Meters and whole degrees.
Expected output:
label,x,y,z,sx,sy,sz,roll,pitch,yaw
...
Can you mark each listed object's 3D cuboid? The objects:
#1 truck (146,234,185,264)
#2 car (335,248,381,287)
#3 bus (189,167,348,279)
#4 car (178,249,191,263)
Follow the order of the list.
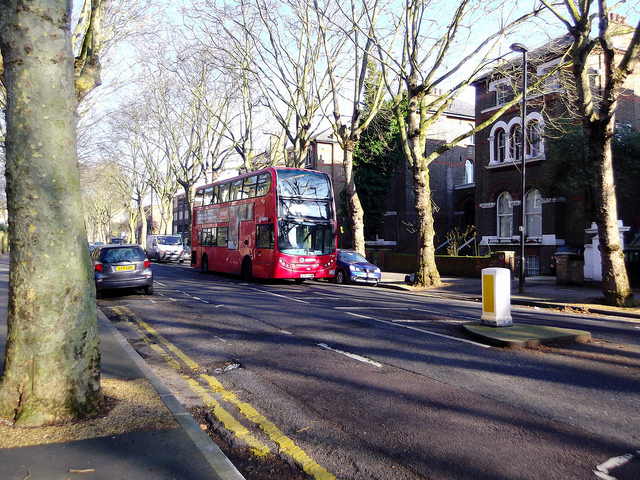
label,x,y,z,sx,sy,sz,roll,pitch,yaw
truck,-12.700,0.680,39.412,1.785,1.794,3.314,1,-8,-24
car,1.706,1.201,22.758,1.191,1.282,2.472,2,-7,-24
bus,-3.686,-0.723,25.530,3.476,5.491,11.351,2,-1,-34
car,-11.995,1.320,42.368,0.984,1.004,2.323,0,1,-6
